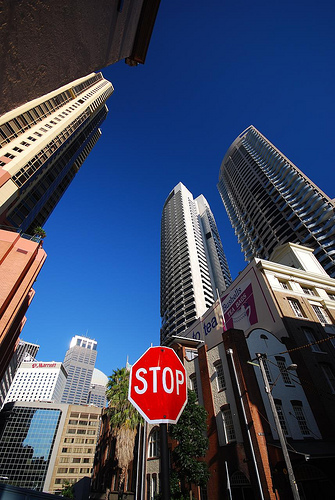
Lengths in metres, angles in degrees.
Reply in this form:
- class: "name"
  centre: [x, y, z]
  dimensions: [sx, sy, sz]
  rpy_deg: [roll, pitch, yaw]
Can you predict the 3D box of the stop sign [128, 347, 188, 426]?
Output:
- class: "stop sign"
  centre: [-0.108, 1.895, 3.633]
  dimensions: [0.875, 0.051, 1.334]
  rpy_deg: [0, -75, 2]
